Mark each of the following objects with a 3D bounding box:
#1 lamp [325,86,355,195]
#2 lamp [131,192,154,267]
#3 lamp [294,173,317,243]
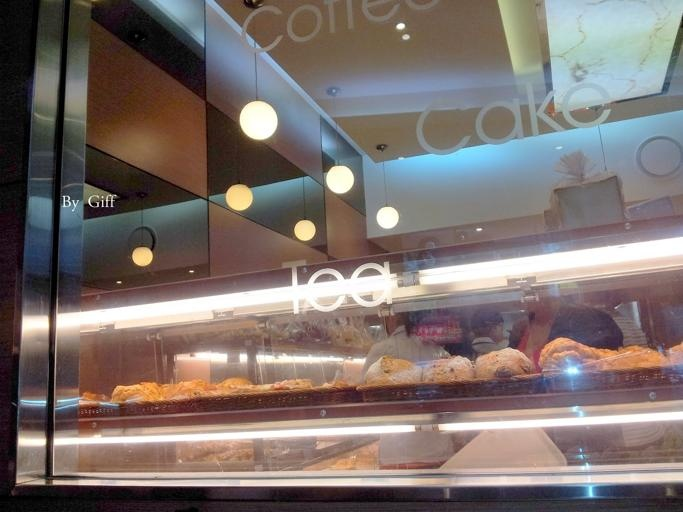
[{"bbox_3d":[-0.003,-0.186,1.173,0.065,0.137,0.065,1,-10,-2],"label":"lamp"},{"bbox_3d":[-0.505,-0.053,1.398,0.058,0.211,0.091,5,-23,-19],"label":"lamp"},{"bbox_3d":[-0.092,-0.117,1.339,0.037,0.196,0.084,4,-23,-16],"label":"lamp"}]
